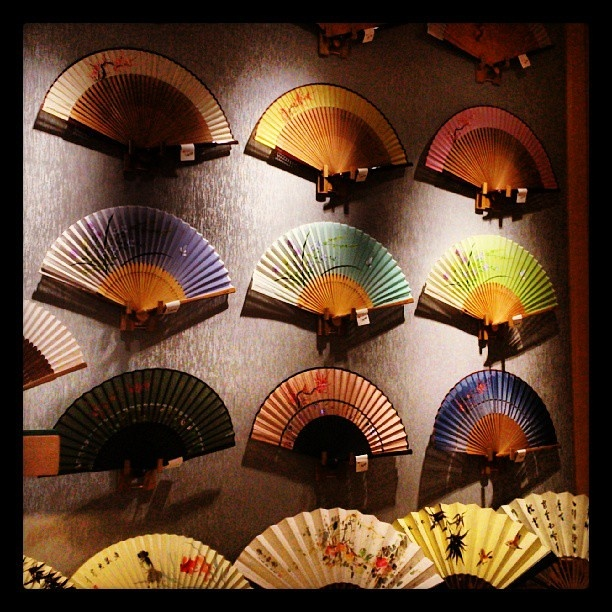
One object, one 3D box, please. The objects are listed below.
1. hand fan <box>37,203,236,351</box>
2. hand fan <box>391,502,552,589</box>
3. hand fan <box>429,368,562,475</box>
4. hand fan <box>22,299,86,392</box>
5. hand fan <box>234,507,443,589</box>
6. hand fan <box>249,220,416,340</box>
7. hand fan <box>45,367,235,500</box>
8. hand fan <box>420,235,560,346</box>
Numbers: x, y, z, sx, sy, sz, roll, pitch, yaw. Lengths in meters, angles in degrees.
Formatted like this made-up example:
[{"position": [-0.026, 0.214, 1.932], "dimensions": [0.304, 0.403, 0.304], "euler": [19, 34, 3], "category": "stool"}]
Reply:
[{"position": [-0.623, -0.101, 2.344], "dimensions": [0.435, 0.350, 0.066], "euler": [6, -3, -13], "category": "hand fan"}, {"position": [0.584, 0.858, 2.346], "dimensions": [0.301, 0.223, 0.029], "euler": [5, -47, 20], "category": "hand fan"}, {"position": [0.707, 0.454, 2.559], "dimensions": [0.356, 0.294, 0.042], "euler": [2, -8, -8], "category": "hand fan"}, {"position": [-0.920, 0.115, 2.292], "dimensions": [0.324, 0.278, 0.024], "euler": [-7, -17, 22], "category": "hand fan"}, {"position": [0.113, 0.841, 2.295], "dimensions": [0.688, 0.182, 0.198], "euler": [2, 9, -1], "category": "hand fan"}, {"position": [0.071, -0.096, 2.471], "dimensions": [0.360, 0.280, 0.046], "euler": [10, 0, -9], "category": "hand fan"}, {"position": [-0.598, 0.443, 2.309], "dimensions": [0.390, 0.289, 0.083], "euler": [-8, -2, -15], "category": "hand fan"}, {"position": [0.688, -0.075, 2.576], "dimensions": [0.343, 0.290, 0.036], "euler": [11, -2, -16], "category": "hand fan"}]
